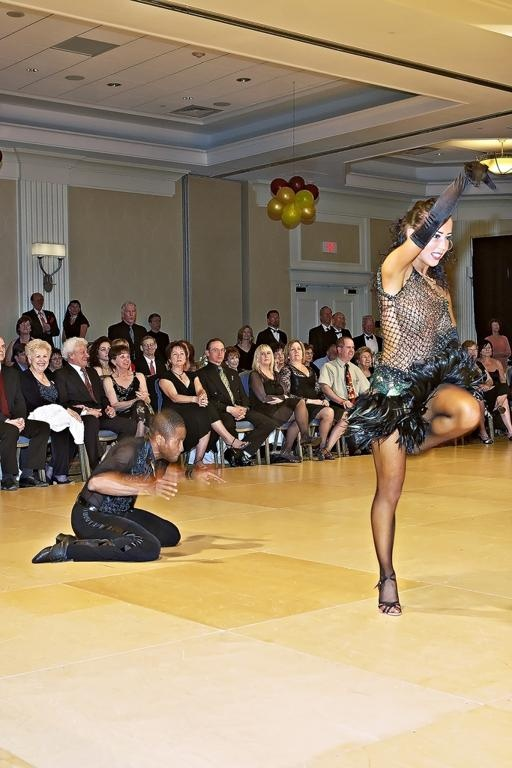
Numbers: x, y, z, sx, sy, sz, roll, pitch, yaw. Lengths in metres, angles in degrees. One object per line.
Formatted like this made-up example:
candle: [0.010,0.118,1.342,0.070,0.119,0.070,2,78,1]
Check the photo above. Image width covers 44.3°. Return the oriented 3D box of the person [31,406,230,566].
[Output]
person: [-0.629,0.563,3.362,1.033,0.742,0.779,3,7,-4]

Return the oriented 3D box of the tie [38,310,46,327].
tie: [-3.467,-1.059,10.268,0.150,0.219,0.058,-10,2,-44]

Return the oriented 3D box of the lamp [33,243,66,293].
lamp: [-3.553,-2.004,10.873,0.597,0.809,0.369,3,-6,-30]

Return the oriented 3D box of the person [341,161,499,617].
person: [0.587,0.091,2.271,0.506,1.536,0.599,-1,-5,7]

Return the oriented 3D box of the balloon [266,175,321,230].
balloon: [0.526,-2.733,9.537,0.908,0.779,0.343,-8,-6,-3]

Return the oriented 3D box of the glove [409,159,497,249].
glove: [0.660,-0.577,2.124,0.108,0.312,0.214,9,30,-50]

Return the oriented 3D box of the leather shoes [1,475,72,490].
leather shoes: [-2.112,0.955,6.020,0.556,0.181,0.172,-3,-4,-6]

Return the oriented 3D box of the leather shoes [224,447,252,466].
leather shoes: [-0.211,0.878,7.523,0.165,0.162,0.448,1,-4,-23]
